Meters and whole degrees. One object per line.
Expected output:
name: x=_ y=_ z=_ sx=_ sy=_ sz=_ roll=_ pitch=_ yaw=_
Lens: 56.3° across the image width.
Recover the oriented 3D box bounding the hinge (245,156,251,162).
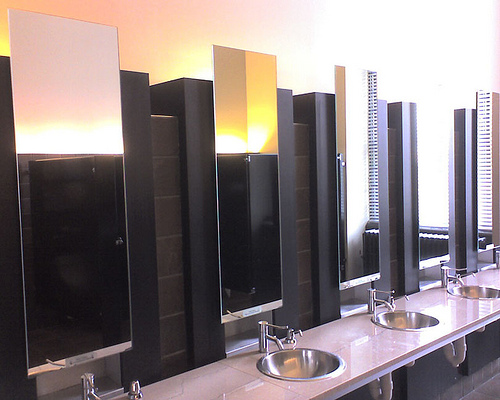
hinge: x=-0.007 y=-0.227 z=2.597 sx=0.025 sy=0.026 sz=0.006 roll=5 pitch=10 yaw=-14

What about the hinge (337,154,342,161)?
hinge: x=0.612 y=-0.290 z=3.192 sx=0.050 sy=0.028 sz=0.012 roll=-7 pitch=9 yaw=-29

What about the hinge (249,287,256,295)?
hinge: x=0.016 y=0.511 z=2.626 sx=0.042 sy=0.036 sz=0.003 roll=-11 pitch=9 yaw=-36

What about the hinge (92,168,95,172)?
hinge: x=-0.692 y=-0.133 z=2.059 sx=0.021 sy=0.017 sz=0.011 roll=-2 pitch=3 yaw=-36
